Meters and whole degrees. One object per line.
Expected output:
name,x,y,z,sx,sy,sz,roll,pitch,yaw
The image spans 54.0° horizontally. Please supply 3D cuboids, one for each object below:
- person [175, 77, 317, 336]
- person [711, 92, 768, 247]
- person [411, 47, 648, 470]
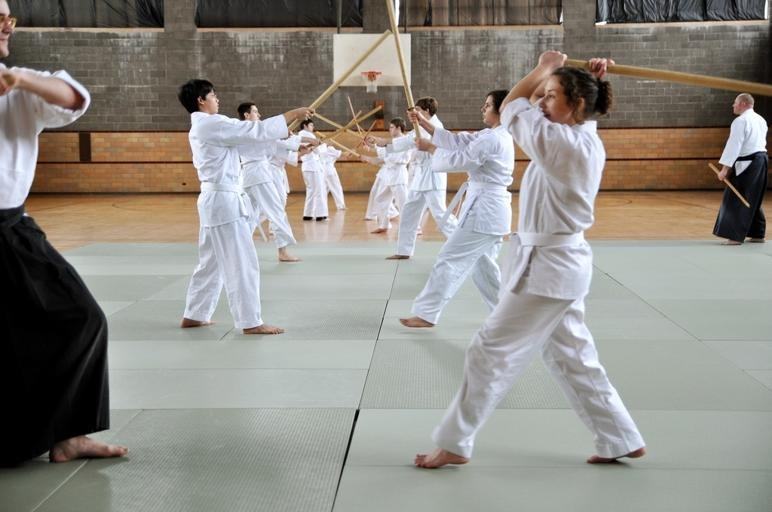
person,-1.264,-0.367,6.343,1.022,2.120,0.624,8,22,20
person,4.724,-1.116,9.851,0.715,1.907,0.993,8,22,22
person,0.931,0.036,4.611,1.303,2.429,0.968,-3,21,-7
